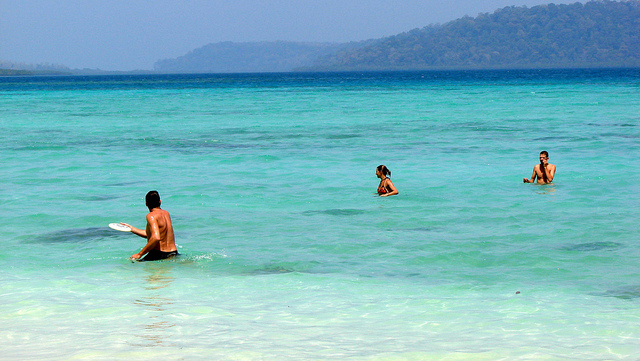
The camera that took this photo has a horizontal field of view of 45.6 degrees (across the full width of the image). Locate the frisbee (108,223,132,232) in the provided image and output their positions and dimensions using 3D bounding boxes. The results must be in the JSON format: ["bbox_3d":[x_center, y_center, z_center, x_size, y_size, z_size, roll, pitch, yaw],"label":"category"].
[{"bbox_3d":[-6.450,1.497,24.208,0.491,0.071,0.412,9,6,20],"label":"frisbee"}]

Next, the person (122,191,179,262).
[{"bbox_3d":[-5.311,1.458,24.110,1.342,2.218,0.580,-1,1,-8],"label":"person"}]

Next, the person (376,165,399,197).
[{"bbox_3d":[2.640,0.062,30.741,1.176,1.152,1.528,-6,4,9],"label":"person"}]

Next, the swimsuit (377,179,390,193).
[{"bbox_3d":[2.468,0.230,30.101,0.689,0.550,0.284,0,3,-11],"label":"swimsuit"}]

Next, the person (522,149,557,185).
[{"bbox_3d":[9.065,-0.494,31.025,1.017,1.313,1.052,-1,1,-18],"label":"person"}]
